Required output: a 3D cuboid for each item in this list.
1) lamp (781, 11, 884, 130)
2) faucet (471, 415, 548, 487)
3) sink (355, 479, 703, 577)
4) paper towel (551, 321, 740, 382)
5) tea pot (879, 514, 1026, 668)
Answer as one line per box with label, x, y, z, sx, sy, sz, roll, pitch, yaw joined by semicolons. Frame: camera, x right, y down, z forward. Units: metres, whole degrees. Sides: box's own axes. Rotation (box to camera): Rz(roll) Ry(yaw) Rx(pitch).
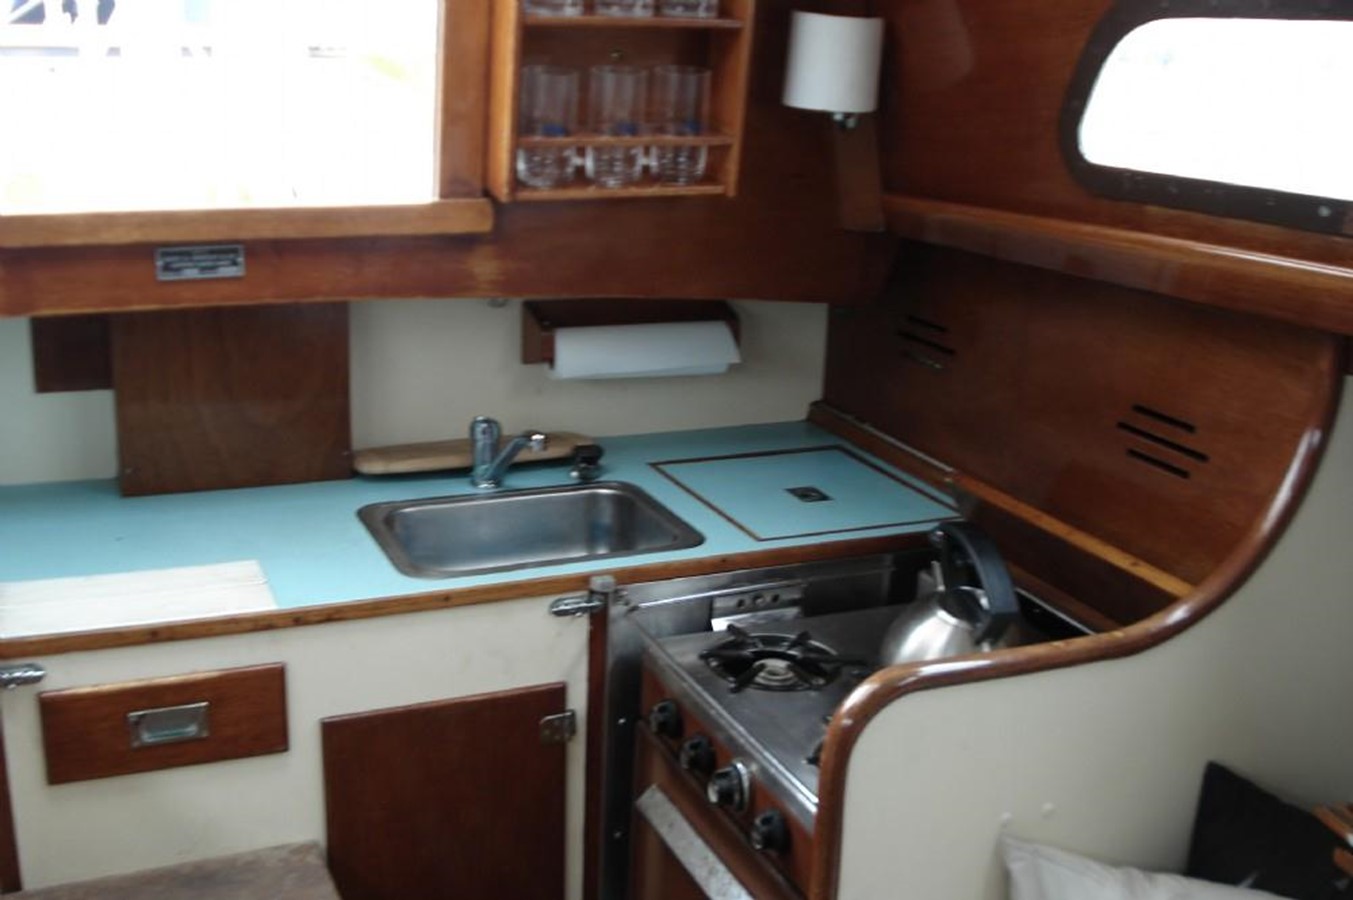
lamp;0.395;-1.002;2.653;0.248;0.281;0.228;3;20;-4
faucet;-0.497;0.010;2.711;0.109;0.218;0.331;-10;15;-39
sink;-0.384;0.221;2.559;0.822;0.215;0.436;-6;7;-17
paper towel;-0.087;-0.287;2.849;0.505;0.142;0.189;-5;28;-15
tea pot;0.571;0.312;2.143;0.259;0.312;0.274;-4;7;1
